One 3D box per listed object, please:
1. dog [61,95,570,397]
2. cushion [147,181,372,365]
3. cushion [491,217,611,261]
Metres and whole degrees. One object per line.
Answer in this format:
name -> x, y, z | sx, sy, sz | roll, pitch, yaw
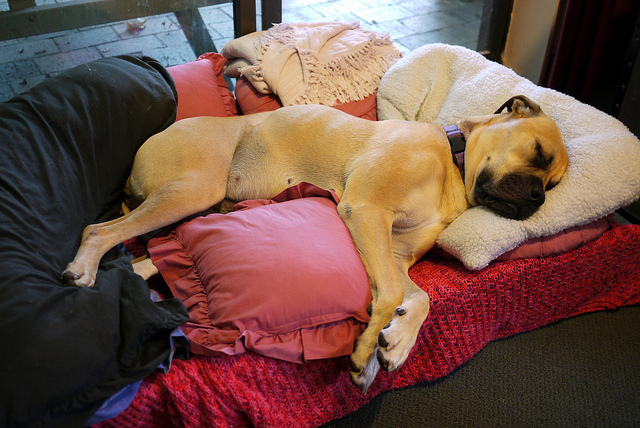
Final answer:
dog -> -0.014, 0.187, 3.226 | 2.863, 1.028, 1.856 | 13, 62, 11
cushion -> -0.197, 0.229, 2.354 | 1.055, 0.282, 1.139 | 15, 34, -3
cushion -> 1.116, 0.131, 2.417 | 0.331, 0.096, 0.260 | -19, 2, -4
